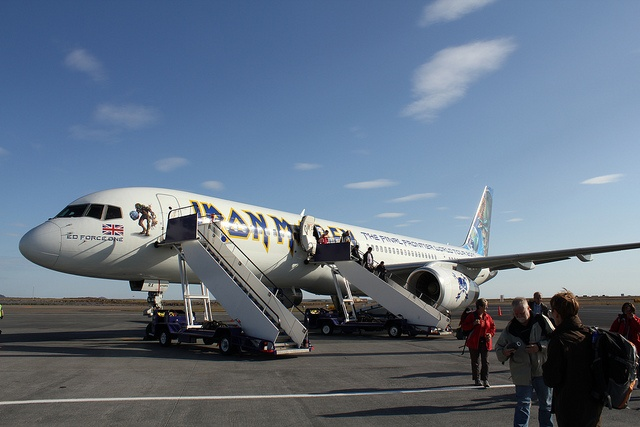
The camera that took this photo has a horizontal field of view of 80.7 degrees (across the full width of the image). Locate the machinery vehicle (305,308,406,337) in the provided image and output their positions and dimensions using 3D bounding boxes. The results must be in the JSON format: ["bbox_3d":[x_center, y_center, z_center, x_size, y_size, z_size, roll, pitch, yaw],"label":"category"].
[{"bbox_3d":[1.743,5.509,18.973,3.897,0.860,2.014,-2,-12,21],"label":"machinery vehicle"}]

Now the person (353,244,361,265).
[{"bbox_3d":[1.889,2.053,19.241,0.358,0.819,0.458,-8,3,-30],"label":"person"}]

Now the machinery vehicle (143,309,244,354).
[{"bbox_3d":[-4.644,4.466,14.321,4.522,1.109,1.575,0,-12,29],"label":"machinery vehicle"}]

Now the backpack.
[{"bbox_3d":[3.343,1.756,4.271,0.418,0.855,0.282,-5,-12,39],"label":"backpack"}]

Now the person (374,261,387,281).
[{"bbox_3d":[3.226,3.042,20.088,0.675,0.447,1.474,23,-18,15],"label":"person"}]
